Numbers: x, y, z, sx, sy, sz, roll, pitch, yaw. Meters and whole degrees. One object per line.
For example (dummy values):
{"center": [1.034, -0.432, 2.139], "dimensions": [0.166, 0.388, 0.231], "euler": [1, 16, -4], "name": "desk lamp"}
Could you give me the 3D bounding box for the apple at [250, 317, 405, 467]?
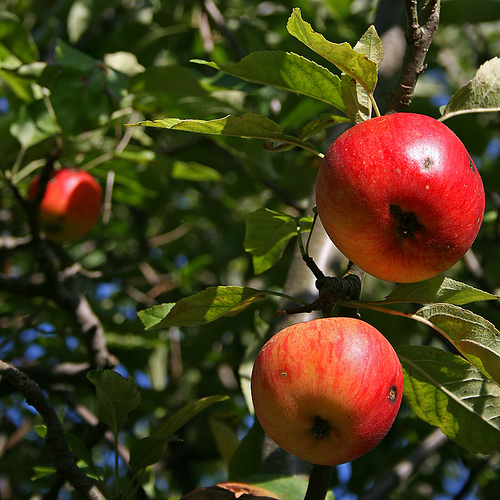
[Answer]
{"center": [0.198, 0.366, 1.785], "dimensions": [0.469, 0.359, 0.389], "euler": [7, 32, 5], "name": "apple"}
